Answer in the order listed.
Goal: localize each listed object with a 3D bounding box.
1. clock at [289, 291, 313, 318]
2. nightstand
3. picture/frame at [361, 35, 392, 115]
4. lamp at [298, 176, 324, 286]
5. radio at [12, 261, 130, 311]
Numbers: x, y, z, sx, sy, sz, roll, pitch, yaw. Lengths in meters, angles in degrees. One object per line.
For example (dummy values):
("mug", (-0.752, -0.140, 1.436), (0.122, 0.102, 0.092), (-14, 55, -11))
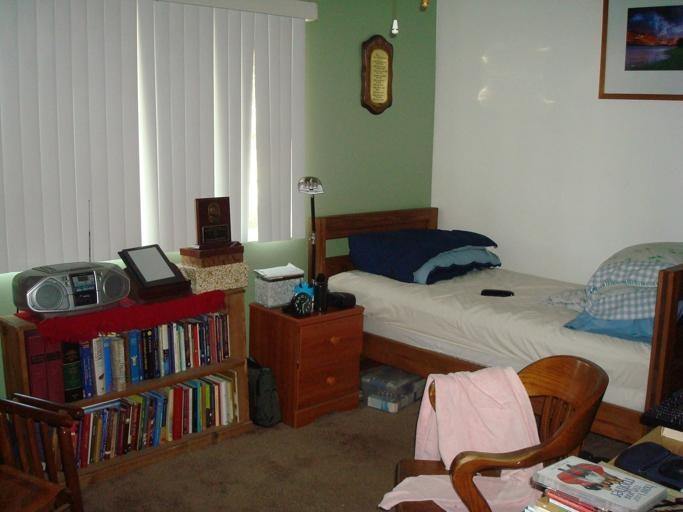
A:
("clock", (-0.260, 0.325, 3.519), (0.139, 0.148, 0.063), (7, -2, -7))
("nightstand", (-0.220, 0.609, 3.799), (0.757, 0.813, 0.718), (-4, 7, -40))
("picture/frame", (0.291, -1.472, 4.418), (0.068, 0.608, 0.367), (10, 20, 43))
("lamp", (-0.221, -0.161, 3.873), (0.201, 0.787, 0.200), (-9, 19, -43))
("radio", (-1.458, 0.185, 2.955), (0.270, 0.249, 0.542), (8, 11, 39))
